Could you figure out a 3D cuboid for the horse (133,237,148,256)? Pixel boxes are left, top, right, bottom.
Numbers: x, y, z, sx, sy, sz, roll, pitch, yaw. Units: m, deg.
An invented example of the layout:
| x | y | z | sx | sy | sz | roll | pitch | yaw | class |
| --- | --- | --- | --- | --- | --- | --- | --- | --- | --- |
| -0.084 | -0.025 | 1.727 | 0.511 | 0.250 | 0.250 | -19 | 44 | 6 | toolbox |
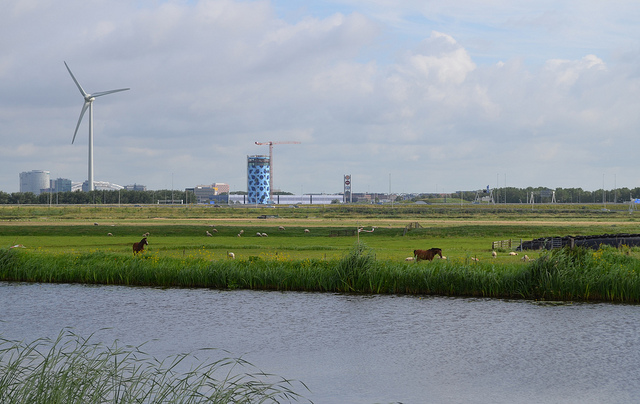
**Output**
| x | y | z | sx | sy | sz | roll | pitch | yaw | class |
| --- | --- | --- | --- | --- | --- | --- | --- | --- | --- |
| -21.373 | 5.105 | 127.253 | 1.434 | 1.828 | 1.574 | -1 | -4 | -5 | horse |
